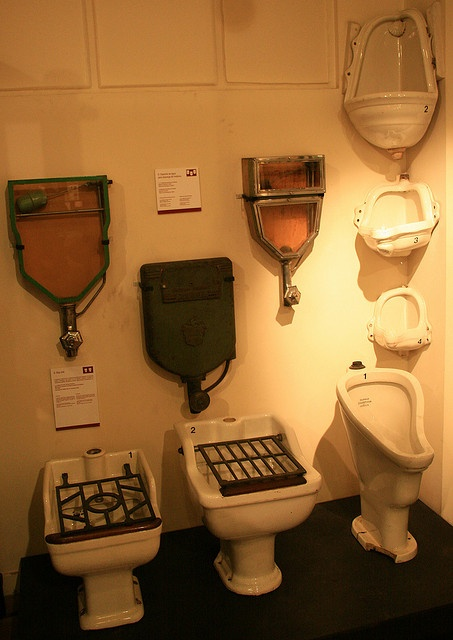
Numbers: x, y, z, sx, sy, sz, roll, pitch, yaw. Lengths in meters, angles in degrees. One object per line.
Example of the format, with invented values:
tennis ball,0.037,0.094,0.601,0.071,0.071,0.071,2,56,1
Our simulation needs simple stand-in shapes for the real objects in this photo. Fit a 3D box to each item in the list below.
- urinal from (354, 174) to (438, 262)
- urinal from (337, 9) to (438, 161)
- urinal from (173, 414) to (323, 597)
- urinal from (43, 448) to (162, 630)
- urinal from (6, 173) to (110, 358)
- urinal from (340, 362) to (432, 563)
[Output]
urinal,0.762,-0.454,2.475,0.323,0.370,0.262,1,-22,26
urinal,0.722,-1.037,2.367,0.362,0.610,0.430,3,15,29
urinal,0.066,0.708,2.091,0.449,0.548,0.555,-4,8,-11
urinal,-0.439,0.789,1.970,0.374,0.485,0.597,-5,9,-17
urinal,-0.639,-0.193,2.181,0.363,0.727,0.129,-5,9,-19
urinal,0.639,0.567,2.285,0.382,0.709,0.480,-4,5,-5
